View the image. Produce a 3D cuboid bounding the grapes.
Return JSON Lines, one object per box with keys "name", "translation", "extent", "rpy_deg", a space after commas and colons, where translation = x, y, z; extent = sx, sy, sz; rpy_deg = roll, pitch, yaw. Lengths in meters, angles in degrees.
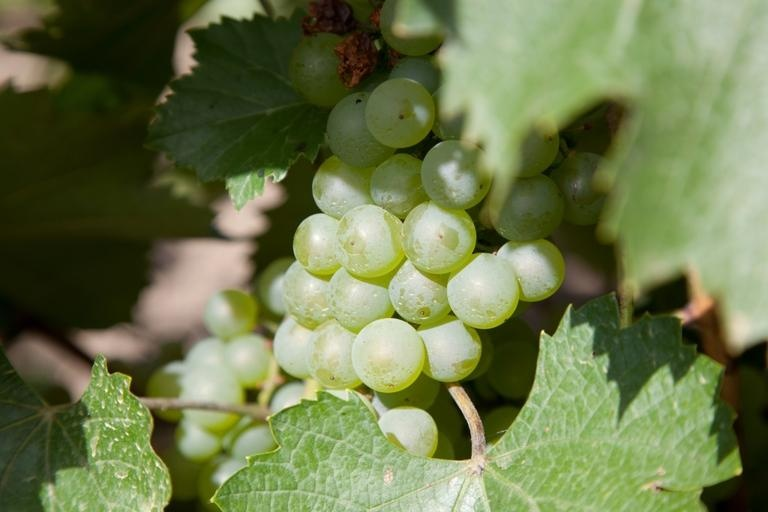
{"name": "grapes", "translation": [-0.013, 0.073, 1.121], "extent": [0.551, 0.269, 0.554], "rpy_deg": [-29, 54, -16]}
